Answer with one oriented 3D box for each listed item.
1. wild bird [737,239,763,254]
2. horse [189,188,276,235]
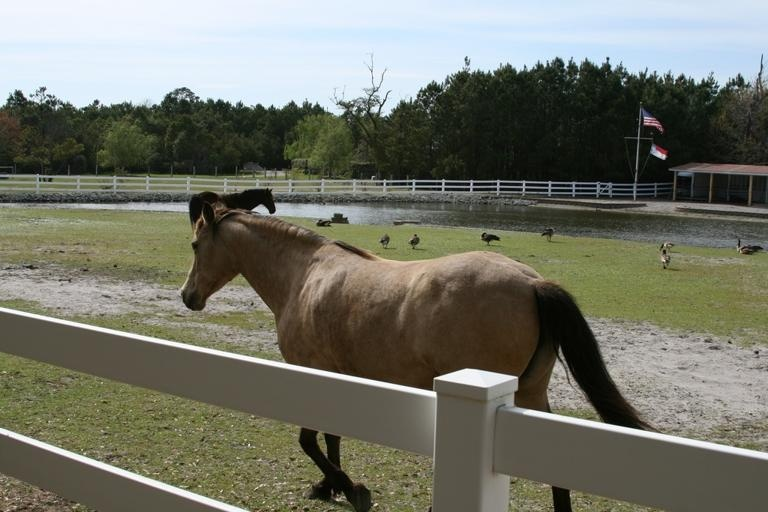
[{"bbox_3d":[10.575,-0.271,25.697,0.701,0.526,0.273,-4,15,-19],"label":"wild bird"},{"bbox_3d":[-1.725,-0.462,10.014,0.941,0.603,0.227,3,-8,4],"label":"horse"}]
